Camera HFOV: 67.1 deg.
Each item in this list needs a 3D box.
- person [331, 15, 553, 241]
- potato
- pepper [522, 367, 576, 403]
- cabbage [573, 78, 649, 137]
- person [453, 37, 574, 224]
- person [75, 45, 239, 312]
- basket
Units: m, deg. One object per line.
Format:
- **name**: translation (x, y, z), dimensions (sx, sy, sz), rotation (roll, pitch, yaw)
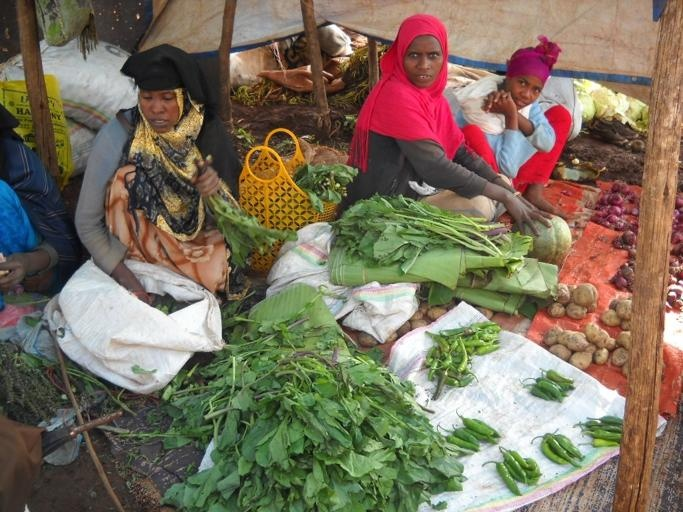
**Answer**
- **person**: translation (0.794, -1.001, 4.355), dimensions (1.468, 1.802, 0.520), rotation (19, 32, 15)
- **potato**: translation (1.807, 0.498, 3.787), dimensions (0.560, 0.375, 0.721), rotation (16, 30, 12)
- **pepper**: translation (1.372, 0.856, 3.382), dimensions (0.255, 0.087, 0.188), rotation (16, 46, 30)
- **cabbage**: translation (3.650, -2.007, 6.925), dimensions (1.116, 0.477, 0.708), rotation (10, 29, 1)
- **person**: translation (1.679, -1.316, 5.094), dimensions (1.142, 1.816, 1.053), rotation (2, 28, -6)
- **person**: translation (-1.193, -0.527, 3.799), dimensions (1.122, 1.934, 1.167), rotation (28, 35, 34)
- **basket**: translation (-0.520, -0.543, 4.732), dimensions (0.991, 1.225, 0.699), rotation (-1, 24, -3)
